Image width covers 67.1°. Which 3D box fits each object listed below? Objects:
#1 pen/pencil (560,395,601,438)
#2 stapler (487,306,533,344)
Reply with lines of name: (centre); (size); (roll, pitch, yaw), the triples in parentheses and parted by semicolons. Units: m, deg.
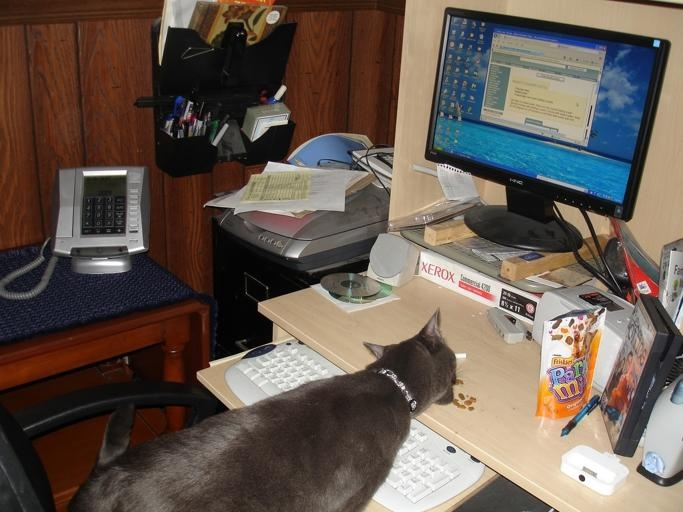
pen/pencil: (0.433, 0.295, 0.939); (0.117, 0.015, 0.019); (-33, 35, -31)
stapler: (0.392, 0.151, 1.178); (0.069, 0.029, 0.123); (-16, 19, -2)
